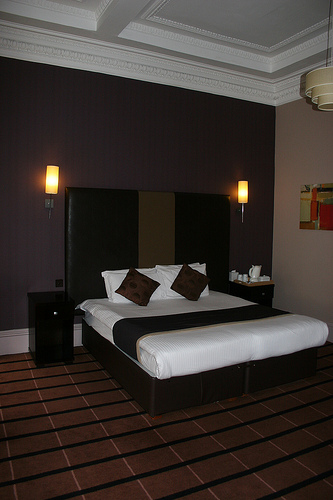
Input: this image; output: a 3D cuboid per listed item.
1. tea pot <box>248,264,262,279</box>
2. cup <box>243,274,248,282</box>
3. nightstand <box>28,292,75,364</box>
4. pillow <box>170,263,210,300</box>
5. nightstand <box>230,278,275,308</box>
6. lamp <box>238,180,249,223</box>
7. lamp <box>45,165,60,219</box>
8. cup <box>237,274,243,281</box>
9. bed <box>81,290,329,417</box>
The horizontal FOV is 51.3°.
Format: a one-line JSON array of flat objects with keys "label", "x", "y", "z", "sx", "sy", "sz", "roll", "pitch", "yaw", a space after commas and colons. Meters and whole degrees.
[{"label": "tea pot", "x": 1.267, "y": 0.322, "z": 5.079, "sx": 0.126, "sy": 0.233, "sz": 0.205, "roll": 4, "pitch": -1, "yaw": -43}, {"label": "cup", "x": 1.120, "y": 0.408, "z": 5.025, "sx": 0.081, "sy": 0.155, "sz": 0.083, "roll": 0, "pitch": -5, "yaw": 0}, {"label": "nightstand", "x": -1.149, "y": 0.782, "z": 3.729, "sx": 0.470, "sy": 0.831, "sz": 0.670, "roll": 0, "pitch": -1, "yaw": -24}, {"label": "pillow", "x": 0.260, "y": 0.389, "z": 4.149, "sx": 0.372, "sy": 0.396, "sz": 0.102, "roll": 33, "pitch": -30, "yaw": 2}, {"label": "nightstand", "x": 1.200, "y": 0.540, "z": 5.026, "sx": 0.425, "sy": 0.622, "sz": 0.426, "roll": -4, "pitch": 8, "yaw": -30}, {"label": "lamp", "x": 1.136, "y": -0.723, "z": 5.208, "sx": 0.142, "sy": 0.593, "sz": 0.285, "roll": 1, "pitch": -2, "yaw": 14}, {"label": "lamp", "x": -1.270, "y": -0.638, "z": 3.815, "sx": 0.143, "sy": 0.553, "sz": 0.222, "roll": 2, "pitch": -2, "yaw": -19}, {"label": "cup", "x": 1.052, "y": 0.404, "z": 5.002, "sx": 0.084, "sy": 0.073, "sz": 0.126, "roll": 1, "pitch": 0, "yaw": 5}, {"label": "bed", "x": 0.288, "y": 0.876, "z": 3.400, "sx": 1.792, "sy": 0.586, "sz": 1.723, "roll": 3, "pitch": -2, "yaw": -30}]
